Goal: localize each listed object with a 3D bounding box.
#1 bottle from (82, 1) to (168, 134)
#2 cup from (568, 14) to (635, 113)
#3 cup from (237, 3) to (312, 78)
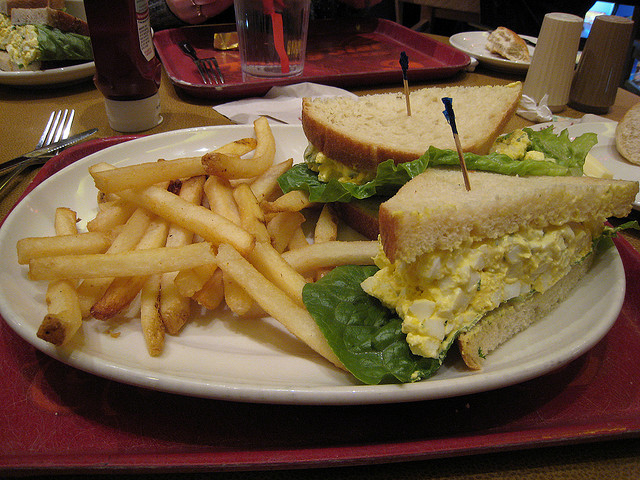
[{"bbox_3d":[-0.894,-0.832,2.417,0.202,0.647,0.343,18,42,22],"label":"bottle"},{"bbox_3d":[1.588,-0.986,2.846,0.253,0.501,0.207,18,41,21],"label":"cup"},{"bbox_3d":[-0.282,-1.198,3.053,0.403,0.460,0.429,0,32,0],"label":"cup"}]
